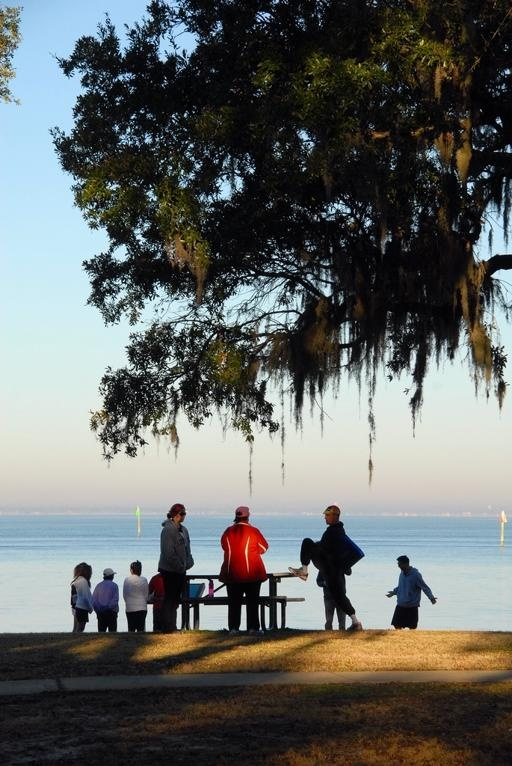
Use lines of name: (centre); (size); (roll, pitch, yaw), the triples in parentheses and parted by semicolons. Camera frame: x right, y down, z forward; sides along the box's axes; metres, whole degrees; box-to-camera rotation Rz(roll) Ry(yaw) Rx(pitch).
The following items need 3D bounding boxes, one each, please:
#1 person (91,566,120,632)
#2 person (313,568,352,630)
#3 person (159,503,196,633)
person: (-2.029, 3.055, 18.609); (0.328, 1.102, 0.359); (0, 7, -6)
person: (0.929, 2.690, 16.685); (0.400, 0.248, 1.036); (12, 32, -6)
person: (-0.925, 2.119, 15.750); (0.375, 1.458, 0.566); (0, -6, -3)
